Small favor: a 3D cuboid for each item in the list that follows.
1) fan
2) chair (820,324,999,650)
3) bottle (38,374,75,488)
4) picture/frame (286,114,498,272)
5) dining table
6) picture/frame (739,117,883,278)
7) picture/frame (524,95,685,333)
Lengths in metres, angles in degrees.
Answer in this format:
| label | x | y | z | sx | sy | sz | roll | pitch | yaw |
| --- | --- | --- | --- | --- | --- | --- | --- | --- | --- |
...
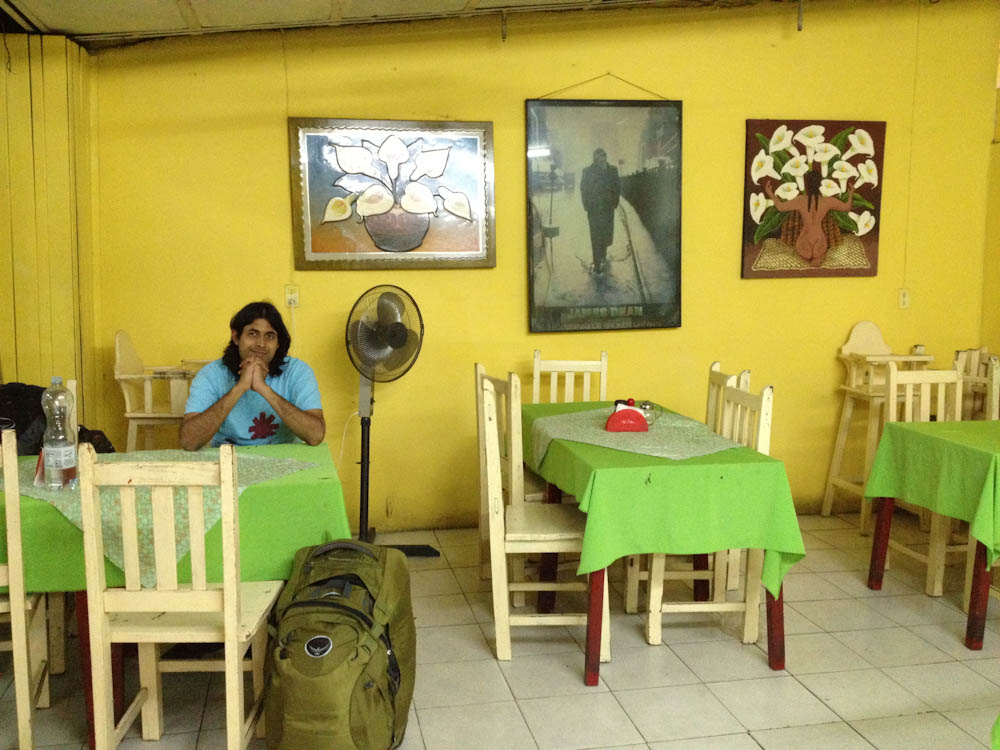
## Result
| label | x | y | z | sx | sy | sz | roll | pitch | yaw |
| --- | --- | --- | --- | --- | --- | --- | --- | --- | --- |
| fan | -0.587 | 0.251 | 5.200 | 0.457 | 1.553 | 0.449 | -1 | 15 | -4 |
| chair | 2.334 | 0.385 | 5.530 | 0.667 | 1.216 | 1.335 | 4 | 15 | 14 |
| bottle | -1.780 | 0.195 | 3.704 | 0.164 | 0.411 | 0.409 | -7 | 16 | -24 |
| picture/frame | -0.689 | -1.089 | 5.431 | 0.961 | 0.671 | 0.025 | -1 | 8 | -7 |
| dining table | 0.727 | 0.737 | 4.419 | 0.972 | 0.929 | 1.086 | -2 | 15 | -9 |
| picture/frame | 1.904 | -1.148 | 5.809 | 1.029 | 1.049 | 0.015 | -1 | 8 | -8 |
| picture/frame | 0.626 | -0.969 | 5.625 | 0.937 | 1.335 | 0.390 | 1 | 15 | 2 |
